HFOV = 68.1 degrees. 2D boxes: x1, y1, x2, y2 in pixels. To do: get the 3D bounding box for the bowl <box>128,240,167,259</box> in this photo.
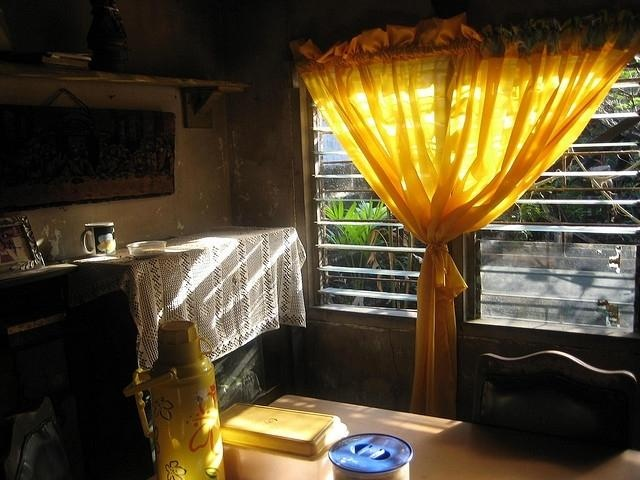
[{"bbox_3d":[-0.762,0.037,2.075,0.139,0.058,0.143,-2,5,0],"label":"bowl"}]
